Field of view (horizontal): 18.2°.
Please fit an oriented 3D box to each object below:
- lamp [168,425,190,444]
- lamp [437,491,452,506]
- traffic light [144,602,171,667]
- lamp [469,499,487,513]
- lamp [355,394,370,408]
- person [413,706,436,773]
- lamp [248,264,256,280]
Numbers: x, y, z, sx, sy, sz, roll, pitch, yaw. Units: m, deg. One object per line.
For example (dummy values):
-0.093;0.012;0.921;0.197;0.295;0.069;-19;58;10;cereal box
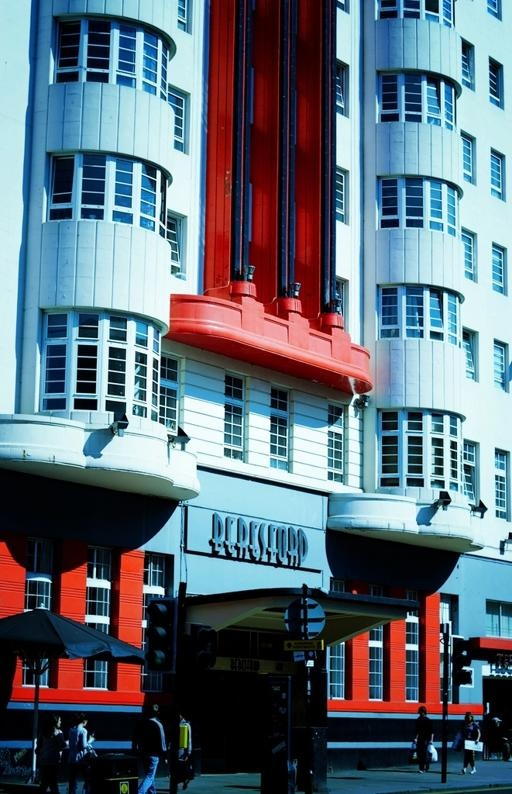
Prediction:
-1.595;0.793;33.066;0.267;0.393;0.325;5;1;-14;lamp
4.629;2.454;39.013;0.250;0.507;0.333;-1;-1;18;lamp
-1.387;3.270;22.140;0.440;0.982;0.260;-6;-11;34;traffic light
5.957;2.923;42.284;0.340;0.517;0.417;-1;-11;34;lamp
2.669;0.090;39.826;0.365;0.342;0.273;1;-10;-7;lamp
3.854;7.773;36.552;0.369;1.425;0.850;-1;-9;5;person
-0.117;-2.757;35.584;0.150;0.388;0.119;3;0;1;lamp
